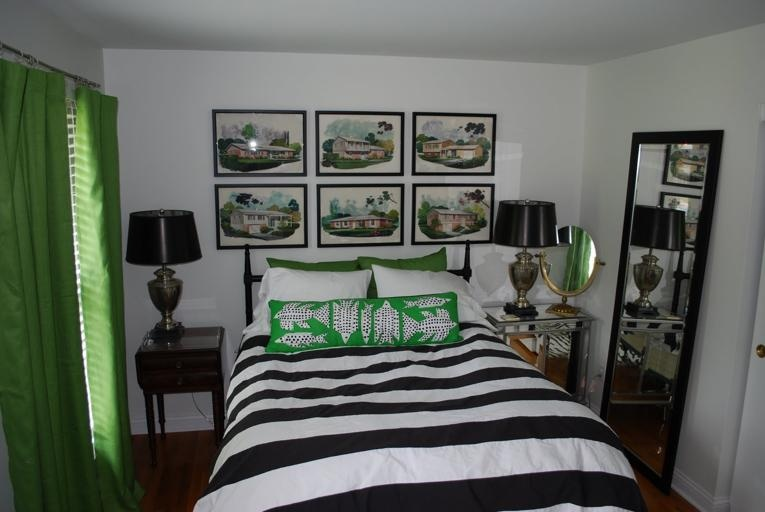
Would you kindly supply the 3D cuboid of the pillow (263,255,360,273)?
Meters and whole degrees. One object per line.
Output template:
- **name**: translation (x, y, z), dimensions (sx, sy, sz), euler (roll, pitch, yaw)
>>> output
- **pillow**: translation (-0.573, 0.084, 4.458), dimensions (0.657, 0.124, 0.178), euler (2, -15, -11)

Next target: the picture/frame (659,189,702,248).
- **picture/frame**: translation (2.136, -0.286, 3.881), dimensions (0.337, 0.402, 0.032), euler (13, -17, 33)

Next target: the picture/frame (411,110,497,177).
- **picture/frame**: translation (0.602, -1.013, 4.696), dimensions (0.577, 0.426, 0.012), euler (-1, 13, -7)

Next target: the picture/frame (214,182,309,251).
- **picture/frame**: translation (-1.055, -0.354, 4.519), dimensions (0.563, 0.416, 0.020), euler (-1, 5, -13)

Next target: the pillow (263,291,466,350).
- **pillow**: translation (-0.120, 0.531, 4.077), dimensions (1.473, 0.459, 0.219), euler (-4, -25, 0)

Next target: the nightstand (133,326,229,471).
- **nightstand**: translation (-1.801, 1.154, 4.311), dimensions (0.686, 0.937, 0.615), euler (5, -3, 32)

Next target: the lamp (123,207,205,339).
- **lamp**: translation (-1.674, 0.143, 4.202), dimensions (0.511, 1.017, 0.492), euler (0, 7, 7)
